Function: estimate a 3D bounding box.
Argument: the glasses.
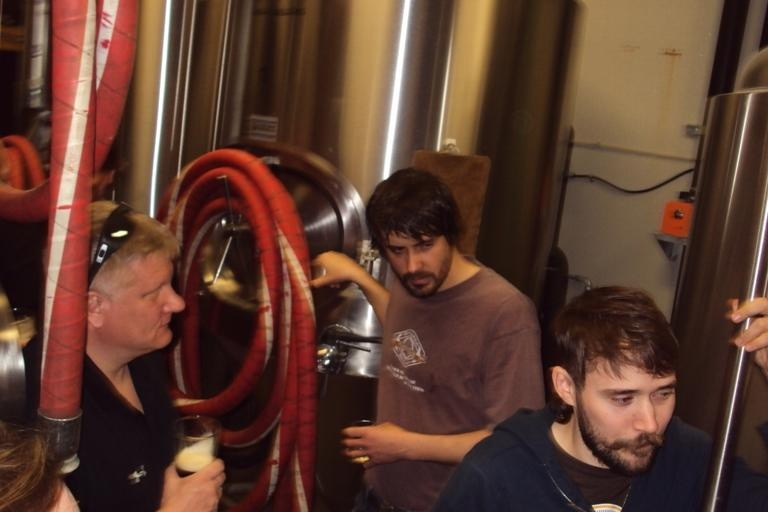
[{"bbox_3d":[-0.755,-0.024,1.663,0.053,0.193,0.156,28,19,-11],"label":"glasses"}]
